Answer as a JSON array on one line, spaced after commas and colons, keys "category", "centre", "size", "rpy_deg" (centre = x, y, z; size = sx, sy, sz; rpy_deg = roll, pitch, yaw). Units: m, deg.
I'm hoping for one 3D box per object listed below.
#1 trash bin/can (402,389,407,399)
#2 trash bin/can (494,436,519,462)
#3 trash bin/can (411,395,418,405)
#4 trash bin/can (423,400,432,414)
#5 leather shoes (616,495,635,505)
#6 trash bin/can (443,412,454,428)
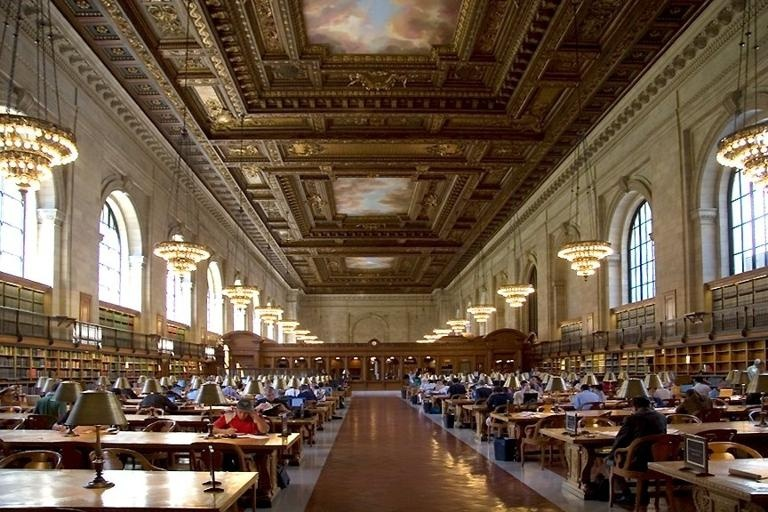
[{"category": "trash bin/can", "centre": [1.044, 7.560, 33.543], "size": [0.443, 0.459, 0.428], "rpy_deg": [-1, -13, 3]}, {"category": "trash bin/can", "centre": [2.467, 3.814, 12.256], "size": [0.425, 0.517, 0.557], "rpy_deg": [5, -12, -19]}, {"category": "trash bin/can", "centre": [1.431, 6.560, 27.819], "size": [0.320, 0.545, 0.583], "rpy_deg": [1, -12, -4]}, {"category": "trash bin/can", "centre": [1.629, 5.538, 22.348], "size": [0.327, 0.553, 0.315], "rpy_deg": [-1, -23, 1]}, {"category": "leather shoes", "centre": [3.669, 3.657, 9.152], "size": [0.291, 0.115, 0.124], "rpy_deg": [-1, -9, 23]}, {"category": "trash bin/can", "centre": [1.901, 4.739, 17.514], "size": [0.346, 0.385, 0.290], "rpy_deg": [0, -14, 1]}]
